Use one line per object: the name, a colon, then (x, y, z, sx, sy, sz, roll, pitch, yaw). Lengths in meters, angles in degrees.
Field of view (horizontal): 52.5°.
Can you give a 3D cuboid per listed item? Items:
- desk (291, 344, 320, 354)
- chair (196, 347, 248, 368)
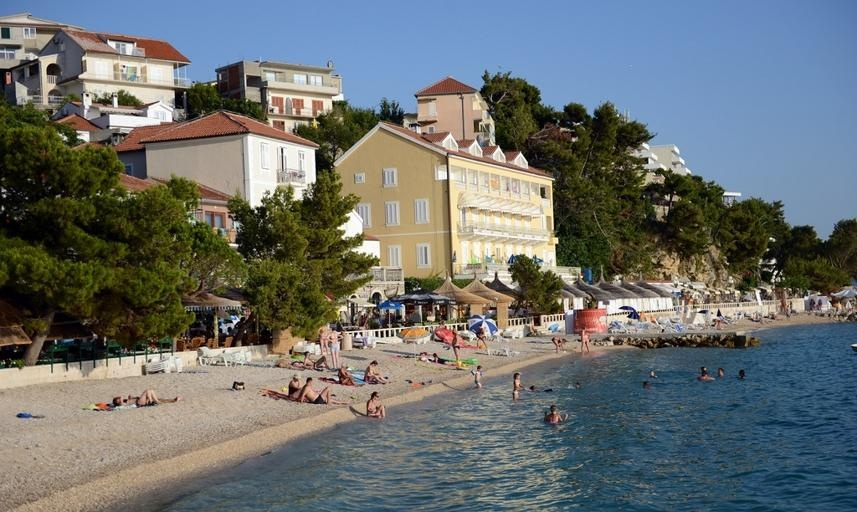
desk: (-7.933, 6.087, 57.492, 1.752, 0.781, 1.233, -6, -9, 44)
chair: (-12.525, 6.149, 53.374, 3.041, 1.066, 1.466, 2, -7, -16)
